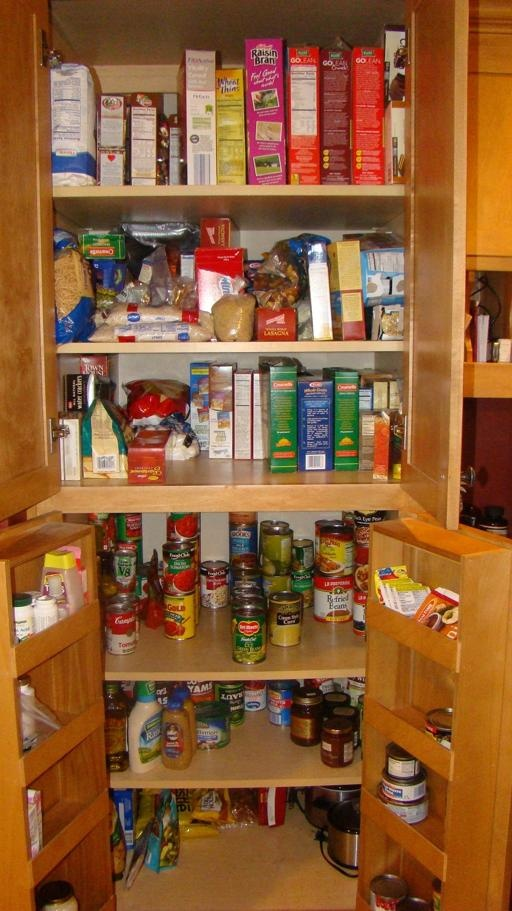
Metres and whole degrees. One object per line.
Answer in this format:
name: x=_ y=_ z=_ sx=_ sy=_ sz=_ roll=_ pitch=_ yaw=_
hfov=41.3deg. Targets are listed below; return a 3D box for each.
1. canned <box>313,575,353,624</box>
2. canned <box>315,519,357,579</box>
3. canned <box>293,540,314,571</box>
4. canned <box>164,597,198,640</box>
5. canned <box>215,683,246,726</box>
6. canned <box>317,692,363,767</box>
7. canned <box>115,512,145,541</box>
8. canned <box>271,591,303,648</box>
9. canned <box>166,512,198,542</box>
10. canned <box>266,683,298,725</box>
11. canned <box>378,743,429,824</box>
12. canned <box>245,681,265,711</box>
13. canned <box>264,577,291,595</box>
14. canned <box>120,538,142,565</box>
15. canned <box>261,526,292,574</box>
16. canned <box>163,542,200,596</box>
canned: x=0.197 y=0.359 z=1.711 sx=0.102 sy=0.135 sz=0.112 roll=0 pitch=2 yaw=-2
canned: x=0.193 y=0.224 z=1.672 sx=0.102 sy=0.134 sz=0.111 roll=1 pitch=5 yaw=4
canned: x=0.123 y=0.261 z=1.812 sx=0.061 sy=0.079 sz=0.067 roll=2 pitch=9 yaw=3
canned: x=-0.184 y=0.390 z=1.625 sx=0.087 sy=0.117 sz=0.096 roll=0 pitch=4 yaw=4
canned: x=-0.057 y=0.608 z=1.688 sx=0.085 sy=0.114 sz=0.093 roll=-2 pitch=5 yaw=-2
canned: x=0.196 y=0.640 z=1.590 sx=0.068 sy=0.117 sz=0.112 roll=0 pitch=-3 yaw=1
canned: x=-0.325 y=0.178 z=1.762 sx=0.060 sy=0.080 sz=0.065 roll=0 pitch=5 yaw=0
canned: x=0.067 y=0.392 z=1.665 sx=0.094 sy=0.122 sz=0.100 roll=-1 pitch=4 yaw=-16
canned: x=-0.177 y=0.171 z=1.647 sx=0.061 sy=0.077 sz=0.068 roll=2 pitch=10 yaw=-6
canned: x=0.067 y=0.612 z=1.724 sx=0.080 sy=0.105 sz=0.087 roll=1 pitch=3 yaw=1
canned: x=0.272 y=0.605 z=1.300 sx=0.097 sy=0.128 sz=0.107 roll=2 pitch=5 yaw=5
canned: x=0.001 y=0.624 z=1.763 sx=0.063 sy=0.083 sz=0.069 roll=0 pitch=7 yaw=-2
canned: x=0.058 y=0.319 z=1.719 sx=0.047 sy=0.062 sz=0.051 roll=0 pitch=-3 yaw=0
canned: x=-0.323 y=0.245 z=1.799 sx=0.059 sy=0.078 sz=0.065 roll=2 pitch=7 yaw=7
canned: x=0.054 y=0.238 z=1.713 sx=0.080 sy=0.139 sz=0.082 roll=5 pitch=12 yaw=15
canned: x=-0.178 y=0.262 z=1.646 sx=0.098 sy=0.124 sz=0.098 roll=-3 pitch=5 yaw=-39
